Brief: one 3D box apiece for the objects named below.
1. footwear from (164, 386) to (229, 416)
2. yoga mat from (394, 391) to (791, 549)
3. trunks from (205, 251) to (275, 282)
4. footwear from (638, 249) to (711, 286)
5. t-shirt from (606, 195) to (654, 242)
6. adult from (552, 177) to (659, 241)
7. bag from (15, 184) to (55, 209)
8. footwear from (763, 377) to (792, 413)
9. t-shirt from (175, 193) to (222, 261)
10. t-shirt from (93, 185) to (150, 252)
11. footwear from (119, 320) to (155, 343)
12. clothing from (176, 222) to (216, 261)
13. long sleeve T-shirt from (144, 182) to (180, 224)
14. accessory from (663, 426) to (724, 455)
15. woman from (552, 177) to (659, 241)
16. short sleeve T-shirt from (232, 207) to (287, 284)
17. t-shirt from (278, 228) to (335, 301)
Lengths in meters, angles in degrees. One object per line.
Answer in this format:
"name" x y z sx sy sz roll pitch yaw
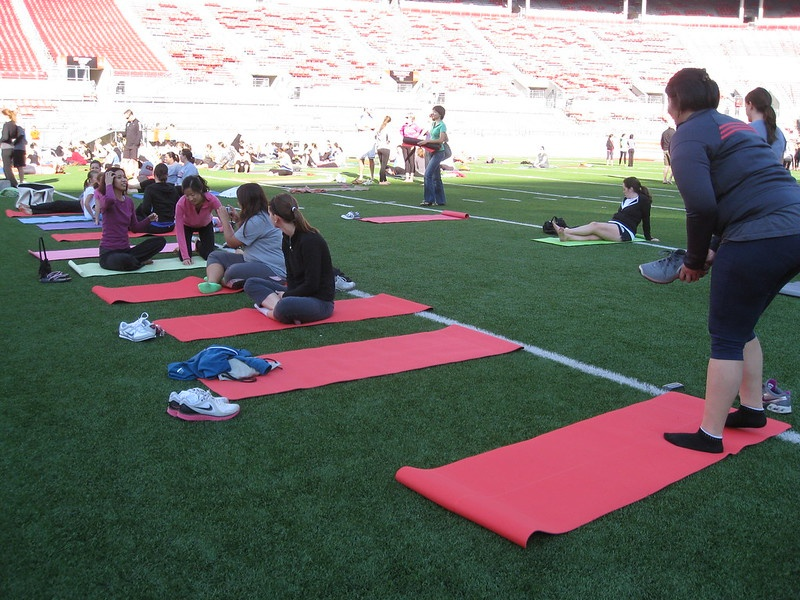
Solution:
"footwear" -1.153 0.601 3.170 0.244 0.086 0.192 5 -1 -25
"yoga mat" 0.964 0.800 2.771 1.894 0.150 0.694 -11 18 -28
"trunks" -1.696 -0.338 5.677 0.555 0.167 0.466 0 9 -9
"footwear" 1.600 -0.218 3.148 0.396 0.172 0.145 -14 36 23
"t-shirt" 3.608 -1.309 8.644 0.811 0.792 0.453 9 0 37
"adult" 3.253 -1.380 8.713 1.519 0.910 0.739 -10 18 15
"bag" -7.224 -2.124 10.660 0.641 0.476 0.696 23 26 34
"footwear" 2.309 0.589 3.395 0.115 0.131 0.265 -6 14 -17
"t-shirt" -2.490 -0.928 6.670 0.513 0.808 0.515 -10 19 -23
"t-shirt" -3.351 -0.979 6.437 0.487 0.765 0.538 -15 21 -36
"footwear" -2.117 0.243 4.350 0.247 0.089 0.169 4 16 25
"clothing" -2.646 -0.775 6.850 0.296 0.471 0.228 -2 27 3
"long sleeve T-shirt" -3.912 -1.664 9.219 0.761 0.754 0.997 -7 20 -24
"accessory" 1.546 0.730 2.916 0.105 0.127 0.299 -19 22 -41
"woman" 3.152 -1.359 8.564 1.675 0.956 0.858 -11 19 -16
"short sleeve T-shirt" -1.481 -0.608 5.752 0.635 0.674 0.455 6 17 -13
"t-shirt" -0.885 -0.283 4.962 0.529 0.712 0.543 -9 9 -40
